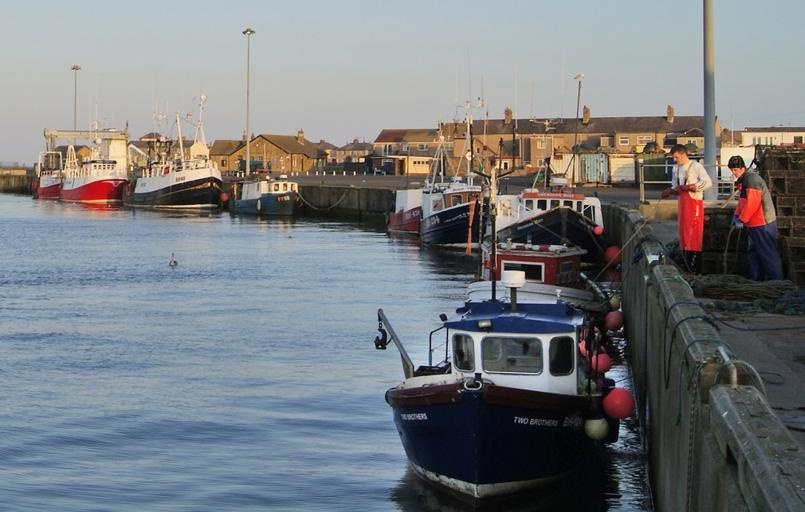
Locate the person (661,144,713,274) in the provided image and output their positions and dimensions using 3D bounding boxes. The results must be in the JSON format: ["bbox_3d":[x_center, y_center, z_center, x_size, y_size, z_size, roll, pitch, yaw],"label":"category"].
[{"bbox_3d":[6.576,-1.063,31.438,0.839,2.911,0.613,0,12,11],"label":"person"}]

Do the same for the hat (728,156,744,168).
[{"bbox_3d":[7.308,-2.039,30.162,0.262,0.336,0.322,1,13,12],"label":"hat"}]

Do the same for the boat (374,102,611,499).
[{"bbox_3d":[2.389,2.514,32.812,4.619,5.851,9.224,2,7,7],"label":"boat"}]

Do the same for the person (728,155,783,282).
[{"bbox_3d":[7.846,-0.657,30.410,1.061,2.523,0.722,1,12,15],"label":"person"}]

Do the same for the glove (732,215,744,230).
[{"bbox_3d":[7.451,-0.710,30.393,0.145,0.355,0.248,-13,10,-25],"label":"glove"}]
